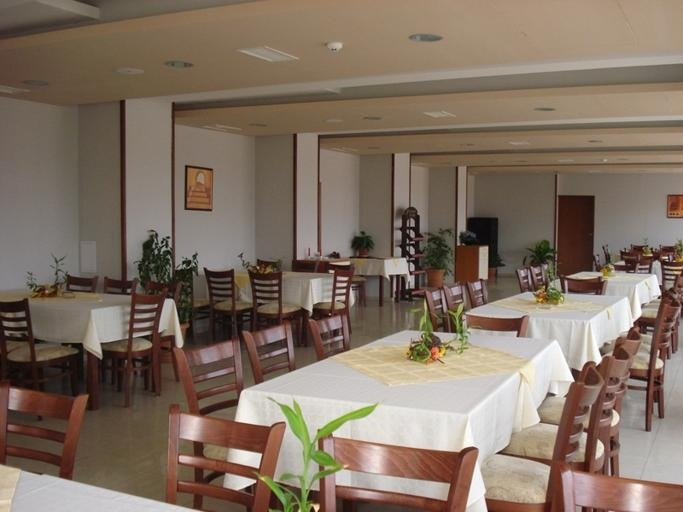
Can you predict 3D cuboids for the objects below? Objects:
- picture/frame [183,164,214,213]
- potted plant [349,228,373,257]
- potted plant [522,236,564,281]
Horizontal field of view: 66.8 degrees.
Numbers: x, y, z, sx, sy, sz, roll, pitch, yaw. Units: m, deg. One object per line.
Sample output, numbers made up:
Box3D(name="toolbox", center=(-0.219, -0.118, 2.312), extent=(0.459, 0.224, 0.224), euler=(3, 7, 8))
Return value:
Box3D(name="picture/frame", center=(-2.444, -1.145, 8.735), extent=(0.069, 0.999, 0.879), euler=(1, 1, 32))
Box3D(name="potted plant", center=(0.476, -0.276, 12.087), extent=(0.532, 0.554, 0.553), euler=(0, -1, -18))
Box3D(name="potted plant", center=(5.283, -0.006, 13.764), extent=(1.171, 1.631, 1.091), euler=(2, 5, 16))
